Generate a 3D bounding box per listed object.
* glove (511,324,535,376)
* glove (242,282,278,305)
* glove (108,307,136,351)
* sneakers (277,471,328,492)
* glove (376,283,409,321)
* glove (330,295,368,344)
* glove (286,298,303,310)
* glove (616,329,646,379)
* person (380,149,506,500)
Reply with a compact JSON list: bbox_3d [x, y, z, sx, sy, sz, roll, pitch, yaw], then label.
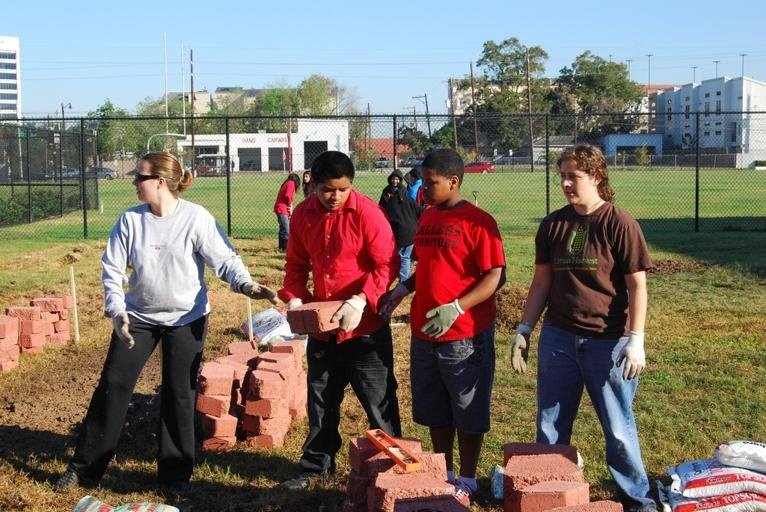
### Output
[{"bbox_3d":[1.261,0.887,7.570,0.233,0.456,0.127,3,-1,-14],"label":"glove"},{"bbox_3d":[-1.430,0.458,9.326,0.434,0.226,0.154,7,39,-1],"label":"glove"},{"bbox_3d":[-2.437,0.713,7.641,0.185,0.385,0.215,-4,9,-19],"label":"glove"},{"bbox_3d":[-0.767,2.181,7.867,0.487,0.219,0.166,6,1,-27],"label":"sneakers"},{"bbox_3d":[0.089,0.438,7.764,0.203,0.373,0.096,33,8,-15],"label":"glove"},{"bbox_3d":[-0.293,0.591,7.568,0.140,0.354,0.272,38,-18,-25],"label":"glove"},{"bbox_3d":[-0.841,0.463,7.737,0.124,0.095,0.122,43,8,-13],"label":"glove"},{"bbox_3d":[2.203,0.896,7.235,0.234,0.459,0.186,0,9,10],"label":"glove"},{"bbox_3d":[0.654,0.673,7.560,0.938,3.301,0.663,0,9,8],"label":"person"}]
